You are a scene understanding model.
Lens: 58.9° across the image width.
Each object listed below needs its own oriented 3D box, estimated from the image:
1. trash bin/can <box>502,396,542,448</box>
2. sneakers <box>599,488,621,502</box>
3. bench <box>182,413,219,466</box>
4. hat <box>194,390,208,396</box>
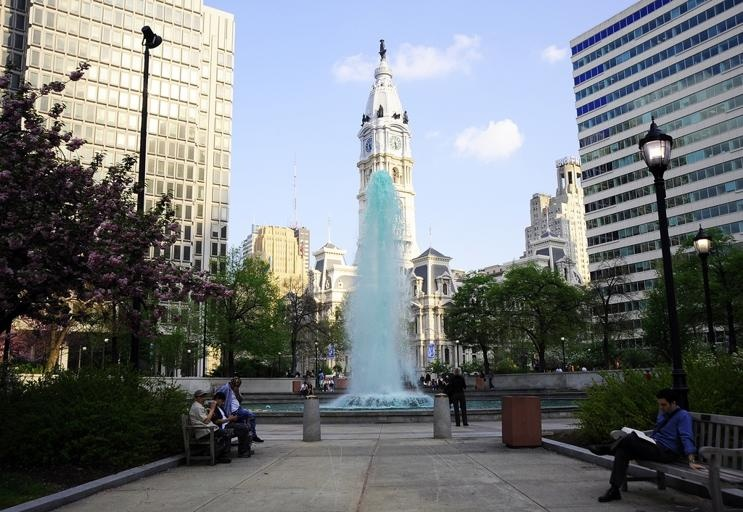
[{"bbox_3d":[4.308,4.771,18.946,1.042,1.443,0.562,-6,-10,21],"label":"trash bin/can"},{"bbox_3d":[4.812,4.856,13.344,0.585,0.247,0.195,3,-12,-17],"label":"sneakers"},{"bbox_3d":[-4.507,4.837,17.302,0.524,0.819,1.261,-1,-7,-5],"label":"bench"},{"bbox_3d":[-4.463,3.668,17.281,0.355,0.181,0.247,-1,-3,-16],"label":"hat"}]
